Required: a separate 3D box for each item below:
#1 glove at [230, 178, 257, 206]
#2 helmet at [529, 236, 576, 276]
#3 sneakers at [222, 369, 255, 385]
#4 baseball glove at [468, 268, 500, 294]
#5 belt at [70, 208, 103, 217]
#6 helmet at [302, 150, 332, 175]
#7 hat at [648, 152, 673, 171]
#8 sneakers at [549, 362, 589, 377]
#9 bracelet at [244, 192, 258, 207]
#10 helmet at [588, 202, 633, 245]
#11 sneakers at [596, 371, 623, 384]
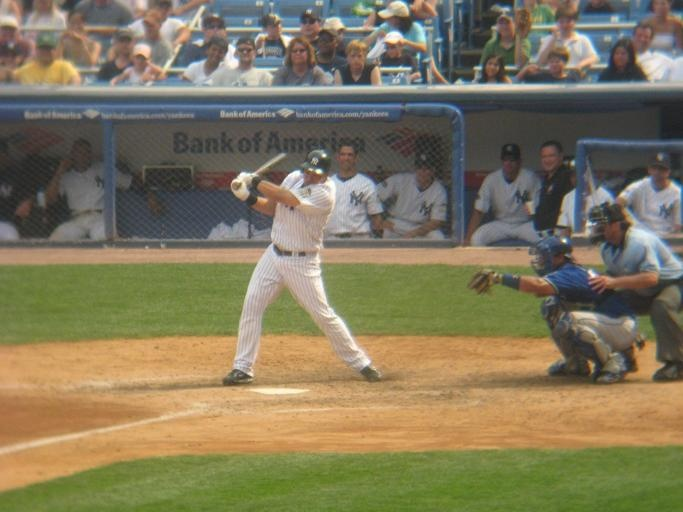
[{"bbox_3d":[-1.073,-0.702,19.746,0.287,0.286,0.260,0,4,-4],"label":"glove"},{"bbox_3d":[2.299,-0.030,20.011,0.539,0.431,0.389,2,4,0],"label":"helmet"},{"bbox_3d":[-1.160,1.361,20.013,0.344,0.138,0.139,2,1,-12],"label":"sneakers"},{"bbox_3d":[1.532,0.282,19.459,0.340,0.263,0.193,0,4,-1],"label":"baseball glove"},{"bbox_3d":[-3.578,-0.622,25.192,0.358,0.096,0.045,-6,27,8],"label":"belt"},{"bbox_3d":[-0.251,-1.042,19.873,0.243,0.187,0.319,25,9,11],"label":"helmet"},{"bbox_3d":[4.206,-1.266,23.665,0.243,0.164,0.338,14,1,20],"label":"hat"},{"bbox_3d":[2.509,1.278,20.001,0.340,0.128,0.180,-3,0,25],"label":"sneakers"},{"bbox_3d":[-1.026,-0.651,19.757,0.140,0.141,0.134,0,48,19],"label":"bracelet"},{"bbox_3d":[2.964,-0.371,19.811,0.502,0.442,0.410,10,7,6],"label":"helmet"},{"bbox_3d":[2.931,1.338,19.637,0.253,0.097,0.123,-1,4,2],"label":"sneakers"}]
